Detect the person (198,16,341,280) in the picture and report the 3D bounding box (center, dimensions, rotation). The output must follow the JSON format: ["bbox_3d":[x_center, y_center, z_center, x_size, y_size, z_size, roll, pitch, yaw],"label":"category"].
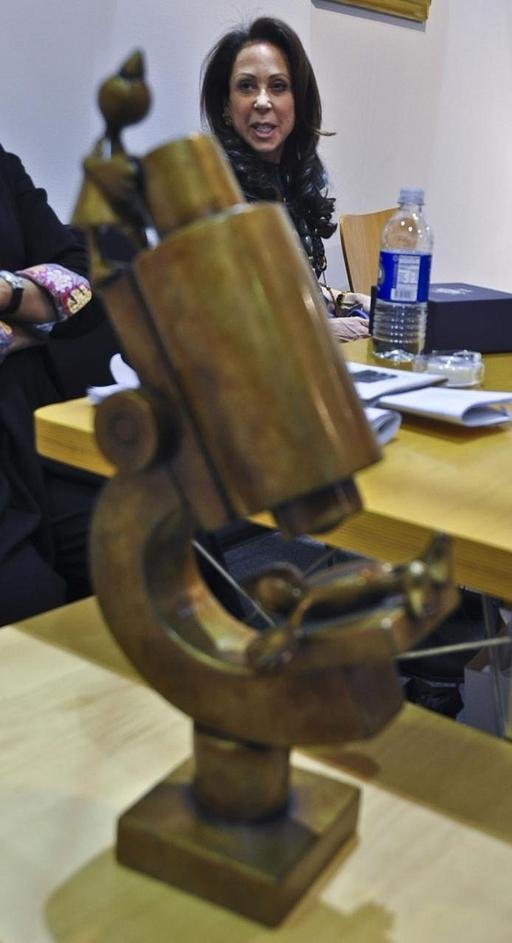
[{"bbox_3d":[0.030,-1.100,2.380,0.463,0.744,0.843,1,29,5],"label":"person"}]
